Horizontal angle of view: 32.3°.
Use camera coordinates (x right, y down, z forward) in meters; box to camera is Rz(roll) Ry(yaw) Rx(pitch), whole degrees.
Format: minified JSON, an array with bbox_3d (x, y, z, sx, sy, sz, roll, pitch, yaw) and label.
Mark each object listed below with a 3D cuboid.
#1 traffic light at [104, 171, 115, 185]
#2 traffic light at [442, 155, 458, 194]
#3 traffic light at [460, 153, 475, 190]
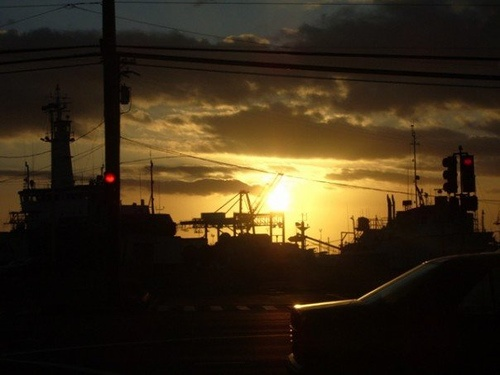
[{"bbox_3d":[-5.857,-0.386,36.267,0.466,0.431,0.425,2,6,-22],"label":"traffic light"},{"bbox_3d":[8.592,-0.557,37.048,0.585,1.636,0.636,2,1,11],"label":"traffic light"},{"bbox_3d":[9.307,-0.571,36.977,0.584,1.552,0.396,2,1,12],"label":"traffic light"}]
